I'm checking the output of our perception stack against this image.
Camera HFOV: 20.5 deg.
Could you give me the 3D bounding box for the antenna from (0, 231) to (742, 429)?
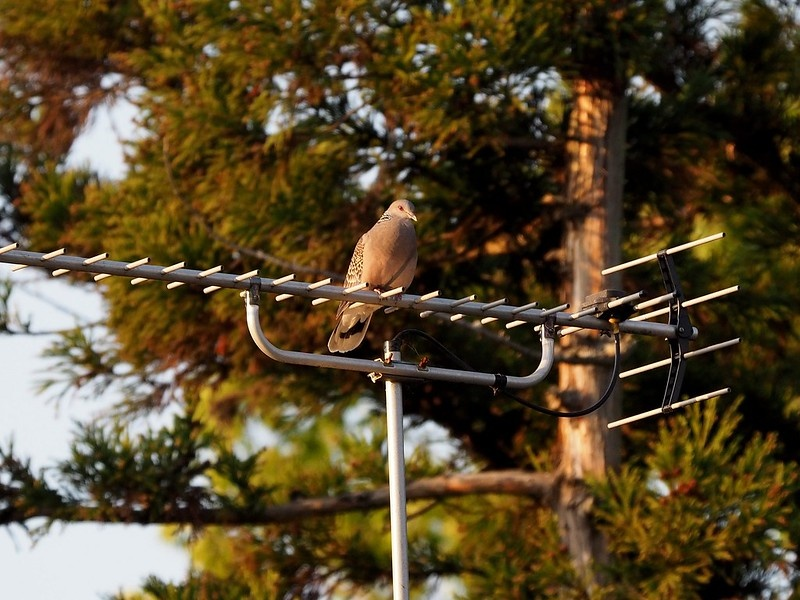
[{"bbox_3d":[0.037,0.035,16.385,3.999,1.171,2.340,5,-13,1],"label":"antenna"}]
